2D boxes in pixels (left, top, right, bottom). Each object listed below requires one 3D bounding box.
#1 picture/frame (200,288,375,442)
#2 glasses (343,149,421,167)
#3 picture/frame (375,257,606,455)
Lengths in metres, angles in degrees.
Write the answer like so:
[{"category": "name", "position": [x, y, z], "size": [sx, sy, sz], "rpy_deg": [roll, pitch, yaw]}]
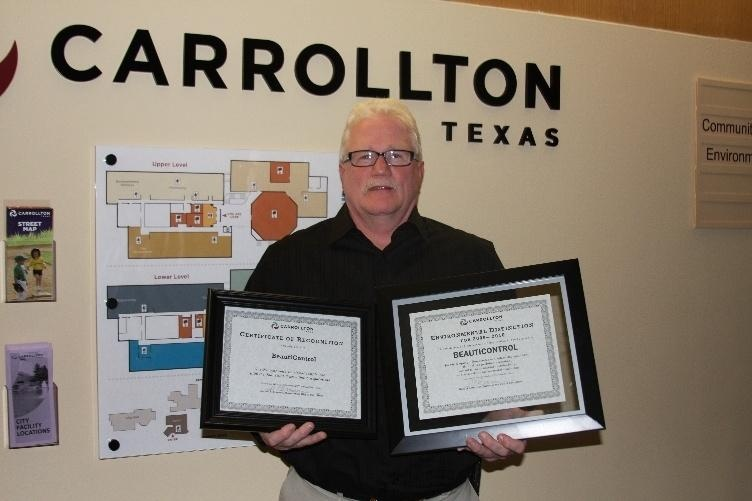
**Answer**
[{"category": "picture/frame", "position": [-0.320, 0.429, 2.706], "size": [0.424, 0.446, 0.038], "rpy_deg": [5, -6, -10]}, {"category": "glasses", "position": [0.016, -0.357, 2.892], "size": [0.281, 0.069, 0.049], "rpy_deg": [-2, -4, 3]}, {"category": "picture/frame", "position": [0.390, 0.390, 2.735], "size": [0.585, 0.632, 0.052], "rpy_deg": [-11, -6, 2]}]
